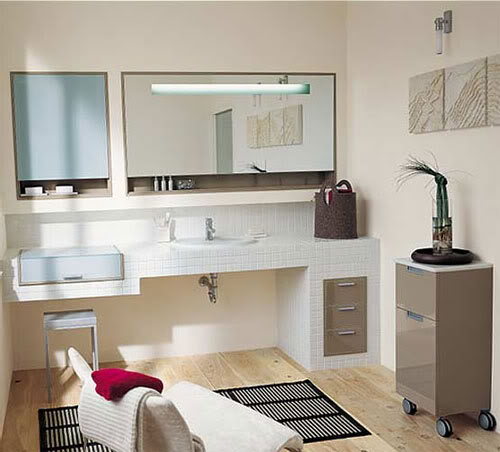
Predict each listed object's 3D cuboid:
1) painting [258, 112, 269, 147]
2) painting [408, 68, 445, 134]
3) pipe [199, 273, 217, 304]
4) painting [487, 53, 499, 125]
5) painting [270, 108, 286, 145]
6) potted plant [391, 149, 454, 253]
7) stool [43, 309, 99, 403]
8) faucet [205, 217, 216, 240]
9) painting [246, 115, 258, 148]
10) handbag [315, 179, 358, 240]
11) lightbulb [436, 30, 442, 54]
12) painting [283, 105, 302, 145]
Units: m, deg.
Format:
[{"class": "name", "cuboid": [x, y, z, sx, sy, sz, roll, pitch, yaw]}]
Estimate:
[{"class": "painting", "cuboid": [0.112, -0.802, 3.776, 0.093, 0.273, 0.025, -3, 4, -23]}, {"class": "painting", "cuboid": [1.153, -0.817, 3.006, 0.027, 0.399, 0.370, -2, 4, -14]}, {"class": "pipe", "cuboid": [-0.352, 0.528, 3.842, 0.140, 0.322, 0.309, -1, 4, -7]}, {"class": "painting", "cuboid": [1.306, -0.732, 2.463, 0.013, 0.362, 0.088, -2, 4, -12]}, {"class": "painting", "cuboid": [0.198, -0.812, 3.815, 0.167, 0.387, 0.042, -1, -28, -4]}, {"class": "potted plant", "cuboid": [1.017, -0.103, 2.684, 0.314, 0.586, 0.291, 0, 3, 7]}, {"class": "stool", "cuboid": [-1.240, 0.793, 3.172, 0.329, 0.695, 0.322, 1, 9, -25]}, {"class": "faucet", "cuboid": [-0.333, 0.019, 3.794, 0.078, 0.177, 0.167, -1, 4, -6]}, {"class": "painting", "cuboid": [0.017, -0.782, 3.757, 0.100, 0.255, 0.025, -1, 4, -2]}, {"class": "handbag", "cuboid": [0.685, -0.148, 3.678, 0.269, 0.491, 0.325, -9, 10, -38]}, {"class": "lightbulb", "cuboid": [1.161, -1.136, 2.817, 0.035, 0.137, 0.061, 1, 4, 22]}, {"class": "painting", "cuboid": [0.352, -0.849, 3.816, 0.158, 0.311, 0.019, -2, 4, -7]}]
